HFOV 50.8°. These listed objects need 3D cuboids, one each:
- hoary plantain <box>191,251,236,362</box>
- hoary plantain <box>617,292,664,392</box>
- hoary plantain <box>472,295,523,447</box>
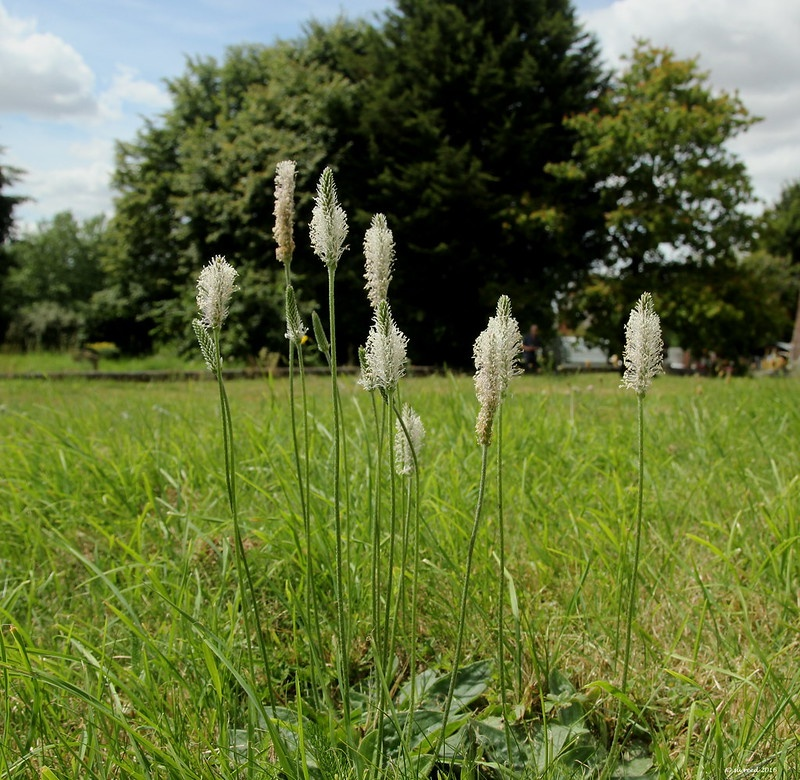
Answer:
[{"bbox_3d":[-0.446,-0.190,2.035,0.101,0.301,0.352,0,2,-14],"label":"hoary plantain"},{"bbox_3d":[0.554,-0.104,1.932,0.088,0.236,0.294,1,2,16],"label":"hoary plantain"},{"bbox_3d":[0.213,-0.043,1.878,0.107,0.340,0.245,1,2,6],"label":"hoary plantain"}]
